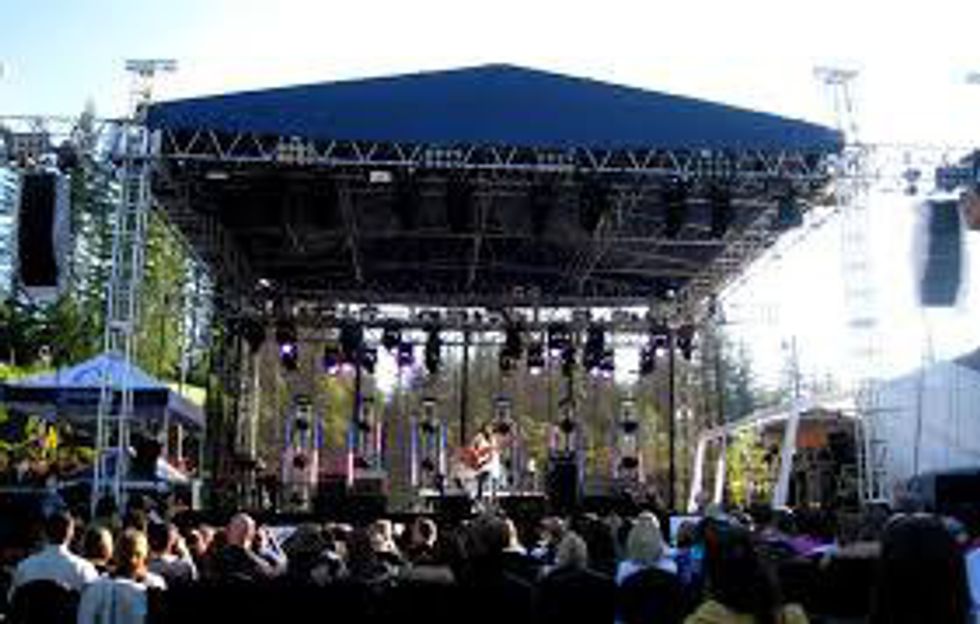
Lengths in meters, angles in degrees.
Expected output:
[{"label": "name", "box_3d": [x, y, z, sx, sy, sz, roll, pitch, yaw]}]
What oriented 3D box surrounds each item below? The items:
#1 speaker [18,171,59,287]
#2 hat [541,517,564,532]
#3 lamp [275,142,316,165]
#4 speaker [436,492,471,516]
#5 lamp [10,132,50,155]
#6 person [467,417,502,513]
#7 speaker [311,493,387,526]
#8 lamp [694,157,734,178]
[{"label": "speaker", "box_3d": [-8.700, -1.607, 17.728, 0.764, 2.212, 0.259, 1, -8, -1]}, {"label": "hat", "box_3d": [0.984, 3.341, 14.526, 0.306, 0.248, 0.219, -7, -10, -3]}, {"label": "lamp", "box_3d": [-3.890, -3.184, 18.328, 0.510, 0.240, 0.499, -1, 1, -3]}, {"label": "speaker", "box_3d": [-0.820, 4.205, 20.486, 0.801, 0.518, 0.424, 1, -13, -1]}, {"label": "lamp", "box_3d": [-9.042, -3.353, 18.143, 0.543, 0.491, 0.124, 0, 2, -7]}, {"label": "person", "box_3d": [-0.301, 3.643, 22.231, 1.058, 2.010, 0.519, 9, -14, -30]}, {"label": "speaker", "box_3d": [-2.986, 4.155, 19.454, 1.200, 0.592, 0.760, 0, -5, 5]}, {"label": "lamp", "box_3d": [4.505, -2.944, 18.607, 0.701, 0.404, 0.408, 0, -3, 0]}]
